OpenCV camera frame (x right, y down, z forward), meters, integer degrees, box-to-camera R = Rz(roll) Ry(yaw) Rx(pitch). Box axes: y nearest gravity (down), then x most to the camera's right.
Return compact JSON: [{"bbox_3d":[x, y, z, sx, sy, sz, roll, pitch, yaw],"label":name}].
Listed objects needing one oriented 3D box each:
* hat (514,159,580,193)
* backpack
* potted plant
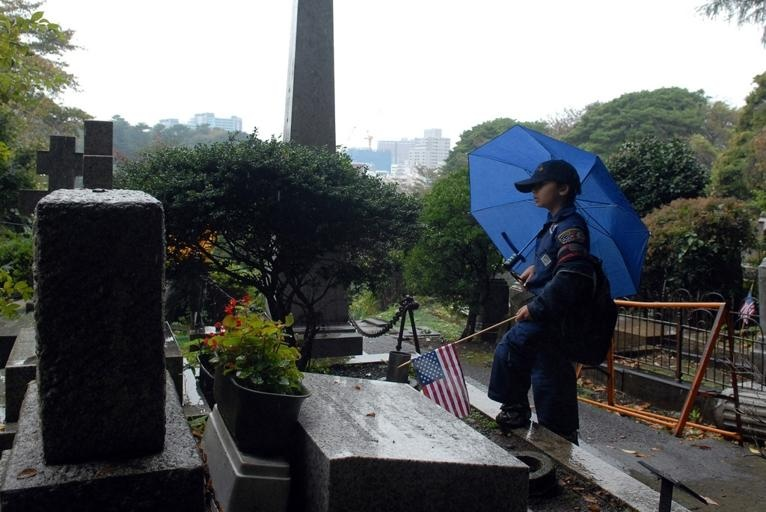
[{"bbox_3d":[1.635,-0.787,5.542,0.487,0.388,0.783,11,8,4],"label":"hat"},{"bbox_3d":[1.822,0.501,4.988,0.621,0.868,0.233,12,7,-6],"label":"backpack"},{"bbox_3d":[-0.955,0.651,4.224,0.694,1.052,1.306,0,4,-20],"label":"potted plant"}]
